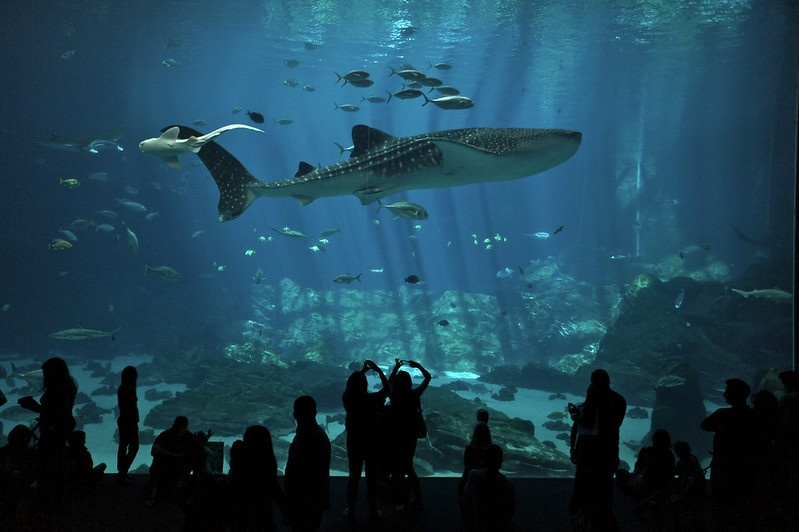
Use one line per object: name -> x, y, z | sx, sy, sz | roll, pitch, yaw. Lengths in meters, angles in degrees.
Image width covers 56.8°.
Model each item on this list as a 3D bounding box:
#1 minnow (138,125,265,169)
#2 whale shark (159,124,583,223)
minnow -> -11.451, -7.436, 42.213 | 6.800, 1.474, 2.943 | -15, -35, -22
whale shark -> -0.598, -6.332, 42.757 | 22.776, 3.811, 6.562 | -9, 3, -7
